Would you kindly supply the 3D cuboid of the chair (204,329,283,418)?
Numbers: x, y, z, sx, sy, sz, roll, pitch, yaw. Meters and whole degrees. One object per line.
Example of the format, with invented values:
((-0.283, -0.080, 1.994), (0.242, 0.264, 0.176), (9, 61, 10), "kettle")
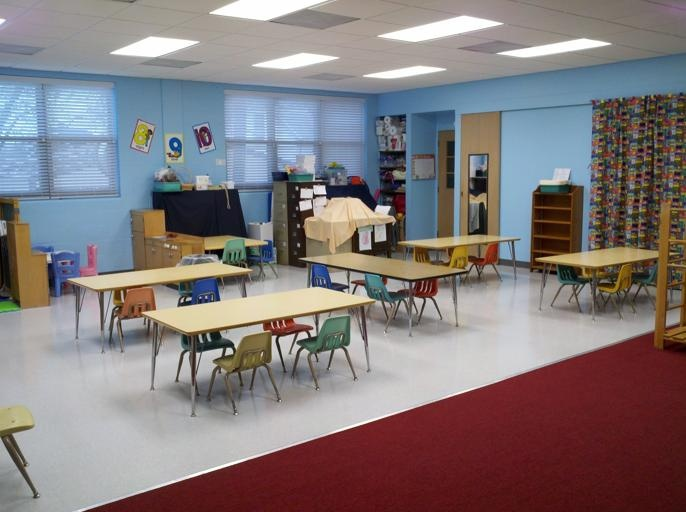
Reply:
((-0.999, 1.188, 4.918), (0.557, 0.809, 0.574), (-10, 21, -42), "chair")

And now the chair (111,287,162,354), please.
((-2.629, 0.824, 6.213), (0.587, 1.005, 0.687), (-5, 16, -38), "chair")

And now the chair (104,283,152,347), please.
((-2.788, 0.772, 6.396), (0.573, 0.980, 0.672), (-6, 17, -38), "chair")

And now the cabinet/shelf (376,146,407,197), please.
((1.338, -2.211, 13.142), (0.323, 1.237, 0.964), (-9, 14, -36), "cabinet/shelf")

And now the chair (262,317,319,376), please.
((-0.660, 0.989, 5.763), (0.541, 0.880, 0.616), (-2, -1, -35), "chair")

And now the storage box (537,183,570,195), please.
((4.150, -1.330, 9.676), (0.589, 0.173, 0.230), (5, 12, 24), "storage box")

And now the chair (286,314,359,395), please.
((-0.179, 0.901, 5.457), (0.698, 1.026, 0.730), (-8, 17, -37), "chair")

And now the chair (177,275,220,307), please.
((-1.862, 0.436, 6.322), (0.368, 0.624, 0.417), (-5, 14, -35), "chair")

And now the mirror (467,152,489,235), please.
((3.075, -1.424, 11.277), (0.197, 1.776, 0.627), (-9, 14, -34), "mirror")

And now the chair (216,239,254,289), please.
((-2.085, -0.051, 9.181), (0.494, 0.803, 0.566), (-5, 13, -35), "chair")

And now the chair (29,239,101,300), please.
((-5.111, 0.078, 9.122), (1.170, 0.767, 1.154), (-6, 10, -38), "chair")
